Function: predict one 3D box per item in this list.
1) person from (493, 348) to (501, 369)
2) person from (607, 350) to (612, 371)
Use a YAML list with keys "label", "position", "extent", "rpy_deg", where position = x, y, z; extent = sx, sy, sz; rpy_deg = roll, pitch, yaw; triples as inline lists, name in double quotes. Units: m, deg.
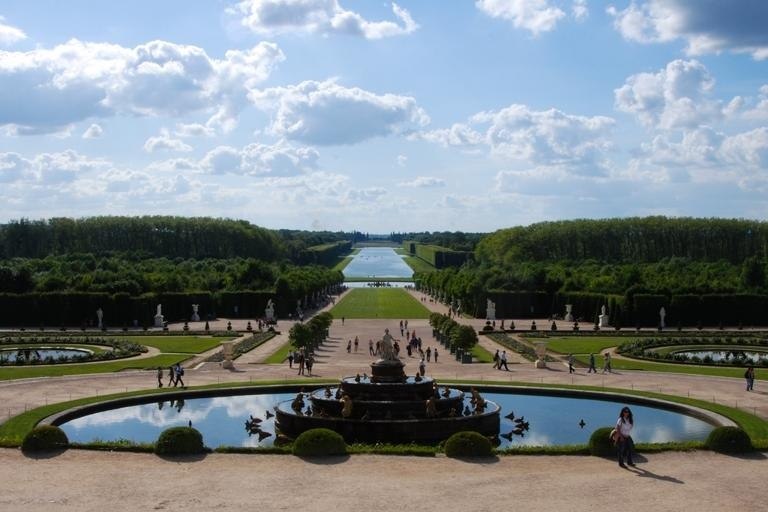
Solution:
- label: "person"
  position: [8.034, 7.377, 53.183]
  extent: [0.443, 1.083, 1.473]
  rpy_deg: [0, -3, 9]
- label: "person"
  position: [16.292, 7.552, 53.685]
  extent: [0.418, 1.242, 1.285]
  rpy_deg: [2, 1, 18]
